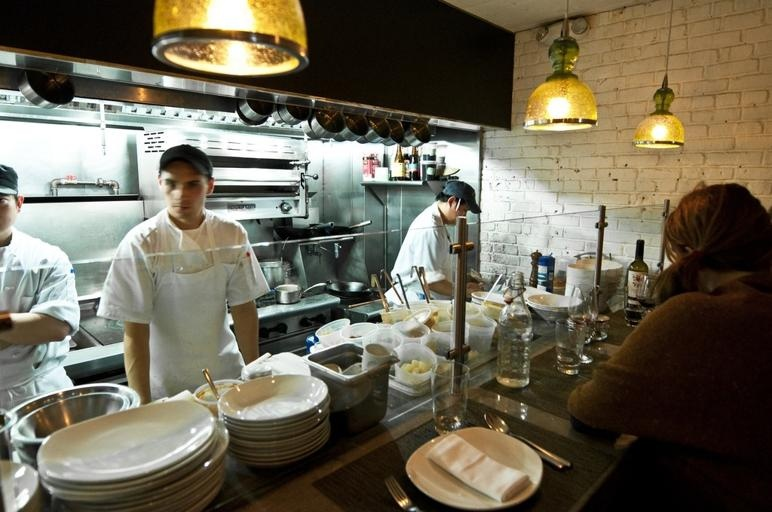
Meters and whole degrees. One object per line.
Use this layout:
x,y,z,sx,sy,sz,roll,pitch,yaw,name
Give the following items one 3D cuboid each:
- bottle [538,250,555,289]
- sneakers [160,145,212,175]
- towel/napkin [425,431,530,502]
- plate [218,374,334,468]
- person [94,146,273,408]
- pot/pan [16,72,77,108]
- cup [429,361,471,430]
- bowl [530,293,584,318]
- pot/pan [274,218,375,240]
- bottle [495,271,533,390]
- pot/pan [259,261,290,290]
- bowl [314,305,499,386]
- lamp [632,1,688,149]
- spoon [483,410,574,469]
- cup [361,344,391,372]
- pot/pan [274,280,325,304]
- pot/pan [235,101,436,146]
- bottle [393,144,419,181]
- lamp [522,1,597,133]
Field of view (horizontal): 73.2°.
0.829,0.089,2.677,0.117,0.191,0.059,-9,13,-41,bottle
-0.924,-0.454,2.410,0.153,0.099,0.199,5,-18,-11,sneakers
0.274,0.637,1.577,0.148,0.037,0.225,-15,21,-39,towel/napkin
-0.346,0.517,1.630,0.330,0.240,0.166,-2,10,-15,plate
-0.882,0.109,2.305,0.631,1.195,0.893,1,10,7,person
-1.640,-0.790,2.501,0.061,0.163,0.167,10,43,41,pot/pan
0.218,0.479,1.768,0.072,0.232,0.111,9,13,41,cup
0.791,0.236,2.490,0.141,0.049,0.133,-1,10,0,bowl
-0.484,-0.191,3.705,0.511,0.082,0.267,-9,-3,44,pot/pan
0.517,0.278,2.096,0.142,0.442,0.233,3,10,15,bottle
-0.605,0.103,2.861,0.151,0.117,0.143,0,8,-6,pot/pan
0.166,0.344,2.018,0.330,0.118,0.553,7,10,43,bowl
1.681,-1.136,3.128,0.284,0.968,0.834,5,11,28,lamp
0.447,0.602,1.776,0.090,0.050,0.449,-1,11,-25,spoon
-0.039,0.338,1.756,0.091,0.086,0.084,4,7,-1,cup
-0.554,0.227,3.300,0.262,0.071,0.110,-2,3,-25,pot/pan
-0.296,-0.906,3.607,1.427,0.221,0.288,-6,11,-33,pot/pan
0.168,-0.781,4.436,0.243,0.287,0.231,0,10,1,bottle
0.788,-0.764,2.342,0.301,0.363,0.173,3,10,17,lamp
